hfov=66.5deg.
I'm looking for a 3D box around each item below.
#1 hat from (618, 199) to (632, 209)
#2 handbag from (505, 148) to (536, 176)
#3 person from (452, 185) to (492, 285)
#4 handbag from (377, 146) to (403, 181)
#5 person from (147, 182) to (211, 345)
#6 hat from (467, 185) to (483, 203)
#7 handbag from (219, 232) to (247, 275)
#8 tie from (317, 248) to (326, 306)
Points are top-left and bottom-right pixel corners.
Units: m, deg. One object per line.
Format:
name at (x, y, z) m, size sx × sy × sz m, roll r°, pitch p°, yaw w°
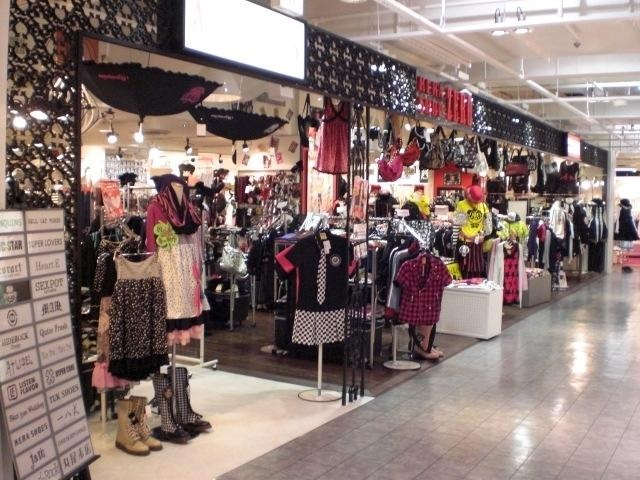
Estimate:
hat at (10.695, -1.265, 17.098) m, size 0.322 × 0.351 × 0.568 m, roll 3°, pitch 3°, yaw 33°
handbag at (5.074, -1.966, 12.343) m, size 0.597 × 0.727 × 1.480 m, roll 2°, pitch 3°, yaw 29°
person at (2.813, -0.128, 8.990) m, size 0.721 × 1.711 × 0.363 m, roll 1°, pitch 2°, yaw 2°
handbag at (1.052, -1.125, 7.182) m, size 0.381 × 0.505 × 0.299 m, roll 1°, pitch 3°, yaw -5°
person at (-1.250, 0.168, 4.336) m, size 0.326 × 1.483 × 0.619 m, roll 2°, pitch 3°, yaw 25°
hat at (2.847, -0.837, 8.937) m, size 0.250 × 0.354 × 0.364 m, roll 3°, pitch 4°, yaw 43°
handbag at (-1.343, 0.277, 7.882) m, size 0.333 × 0.704 × 0.515 m, roll -12°, pitch -10°, yaw 25°
tie at (0.024, 0.390, 5.132) m, size 0.096 × 0.574 × 0.076 m, roll 1°, pitch 2°, yaw 3°
